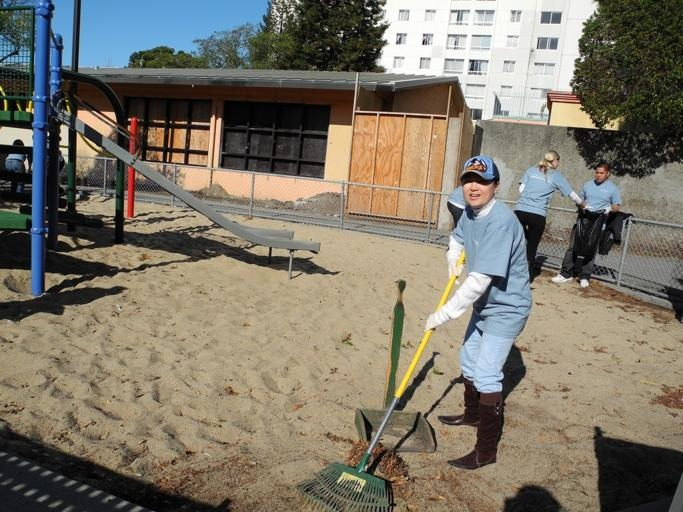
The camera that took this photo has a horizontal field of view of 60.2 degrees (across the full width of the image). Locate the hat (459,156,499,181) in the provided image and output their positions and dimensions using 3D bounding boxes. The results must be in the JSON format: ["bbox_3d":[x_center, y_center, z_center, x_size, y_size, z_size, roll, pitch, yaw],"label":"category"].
[{"bbox_3d":[1.238,-0.769,5.210,0.309,0.215,0.361,7,9,14],"label":"hat"}]

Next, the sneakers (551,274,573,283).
[{"bbox_3d":[4.144,0.442,11.121,0.422,0.169,0.160,2,-1,0],"label":"sneakers"}]

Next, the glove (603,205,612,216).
[{"bbox_3d":[4.743,-0.802,10.509,0.133,0.164,0.067,10,-7,-5],"label":"glove"}]

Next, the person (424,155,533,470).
[{"bbox_3d":[1.294,0.514,5.420,0.821,2.783,0.789,8,10,13],"label":"person"}]

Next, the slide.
[{"bbox_3d":[-2.718,-1.273,9.201,4.431,1.894,0.497,14,23,4],"label":"slide"}]
